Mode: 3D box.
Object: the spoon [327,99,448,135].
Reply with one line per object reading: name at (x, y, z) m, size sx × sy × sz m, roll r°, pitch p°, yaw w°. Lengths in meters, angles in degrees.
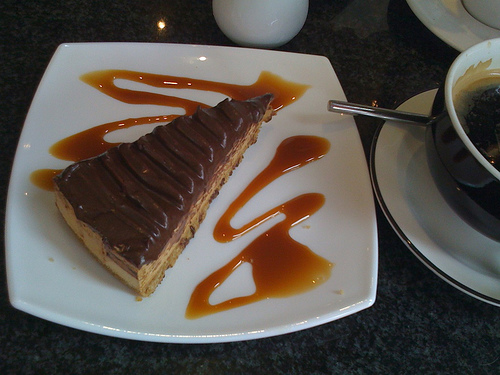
spoon at (0.380, -0.193, 1.290) m, size 0.325 × 0.050 × 0.049 m, roll 13°, pitch -60°, yaw -4°
